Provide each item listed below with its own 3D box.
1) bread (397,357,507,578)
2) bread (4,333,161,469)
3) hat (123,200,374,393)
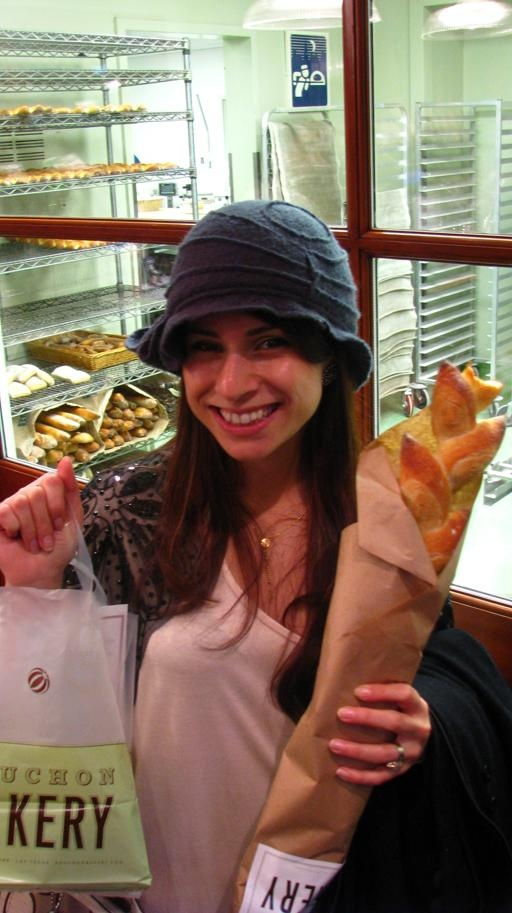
[{"bbox_3d":[0.189,0.004,0.605,0.090,0.211,0.056,10,-6,21],"label":"bread"},{"bbox_3d":[-0.659,-0.242,2.789,0.576,0.628,0.148,-10,2,8],"label":"bread"},{"bbox_3d":[0.008,-0.193,0.827,0.324,0.267,0.254,-11,14,-16],"label":"hat"}]
